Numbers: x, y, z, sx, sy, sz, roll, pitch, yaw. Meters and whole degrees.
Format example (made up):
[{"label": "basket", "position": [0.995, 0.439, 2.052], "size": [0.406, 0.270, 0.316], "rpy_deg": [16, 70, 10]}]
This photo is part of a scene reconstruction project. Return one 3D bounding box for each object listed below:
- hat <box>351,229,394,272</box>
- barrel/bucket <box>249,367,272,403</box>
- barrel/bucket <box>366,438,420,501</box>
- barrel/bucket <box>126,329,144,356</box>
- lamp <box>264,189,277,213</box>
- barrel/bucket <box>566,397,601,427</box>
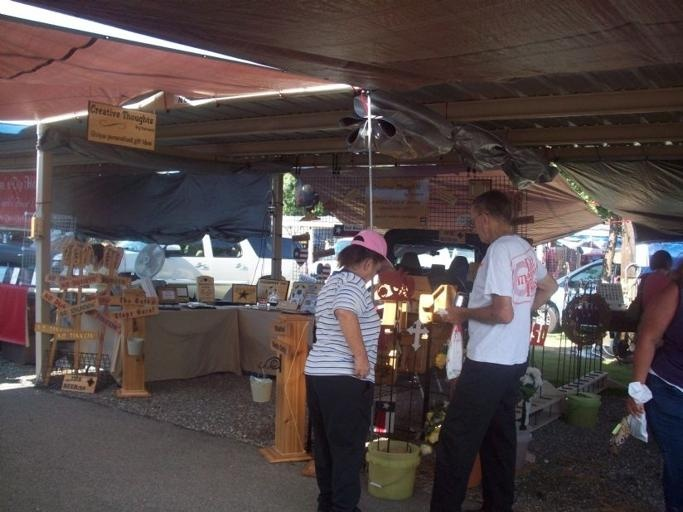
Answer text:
[{"label": "hat", "position": [0.246, -0.056, 4.077], "size": [0.347, 0.178, 0.228], "rpy_deg": [32, -11, -25]}, {"label": "barrel/bucket", "position": [-1.027, 1.645, 7.031], "size": [0.352, 0.296, 0.342], "rpy_deg": [1, 0, 0]}, {"label": "barrel/bucket", "position": [0.430, 1.813, 4.736], "size": [0.482, 0.366, 0.494], "rpy_deg": [-1, -4, 0]}, {"label": "barrel/bucket", "position": [-2.593, 1.138, 6.986], "size": [0.195, 0.267, 0.283], "rpy_deg": [2, 3, -20]}, {"label": "lamp", "position": [-1.212, -0.883, 9.313], "size": [0.309, 0.312, 0.083], "rpy_deg": [2, 3, 5]}, {"label": "barrel/bucket", "position": [2.931, 1.891, 6.783], "size": [0.397, 0.330, 0.347], "rpy_deg": [-1, -10, 40]}]
